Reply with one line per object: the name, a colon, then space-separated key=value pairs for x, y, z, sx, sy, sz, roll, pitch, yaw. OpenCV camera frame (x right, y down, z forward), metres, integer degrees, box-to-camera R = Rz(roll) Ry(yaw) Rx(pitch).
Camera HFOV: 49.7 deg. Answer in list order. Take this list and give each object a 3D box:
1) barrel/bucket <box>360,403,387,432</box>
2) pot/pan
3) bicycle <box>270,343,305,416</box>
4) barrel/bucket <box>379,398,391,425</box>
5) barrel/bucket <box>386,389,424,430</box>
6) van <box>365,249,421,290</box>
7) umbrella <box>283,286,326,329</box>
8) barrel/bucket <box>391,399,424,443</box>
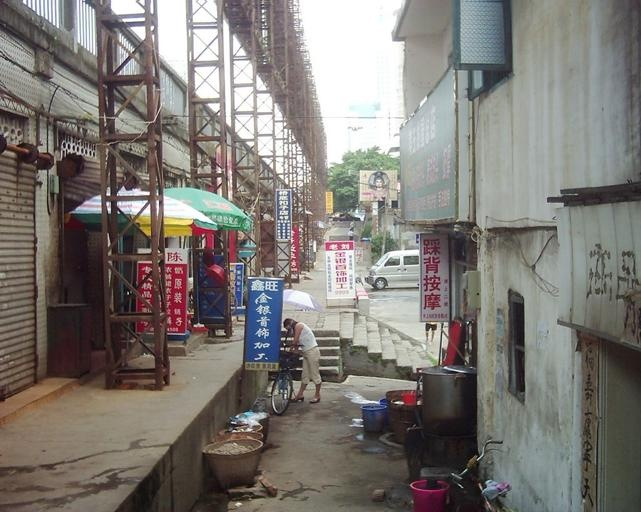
barrel/bucket: x=0.928 y=2.791 z=11.958 sx=0.356 sy=0.336 sz=0.415 roll=0 pitch=-7 yaw=1
pot/pan: x=1.841 y=2.088 z=9.998 sx=0.771 sy=0.837 sz=0.793 roll=-1 pitch=-5 yaw=2
bicycle: x=-0.648 y=2.330 z=13.359 sx=0.509 sy=1.340 sz=1.150 roll=0 pitch=-3 yaw=9
barrel/bucket: x=1.136 y=2.734 z=12.082 sx=0.303 sy=0.378 sz=0.343 roll=-1 pitch=-6 yaw=2
barrel/bucket: x=1.356 y=2.528 z=11.442 sx=0.587 sy=0.516 sz=0.551 roll=-1 pitch=-4 yaw=0
van: x=3.418 y=0.616 z=32.950 sx=2.252 sy=1.498 sz=1.492 roll=1 pitch=1 yaw=1
umbrella: x=-0.387 y=1.342 z=17.469 sx=0.756 sy=0.525 sz=0.798 roll=31 pitch=2 yaw=23
barrel/bucket: x=1.394 y=2.617 z=11.012 sx=0.508 sy=0.558 sz=0.601 roll=0 pitch=-7 yaw=3
